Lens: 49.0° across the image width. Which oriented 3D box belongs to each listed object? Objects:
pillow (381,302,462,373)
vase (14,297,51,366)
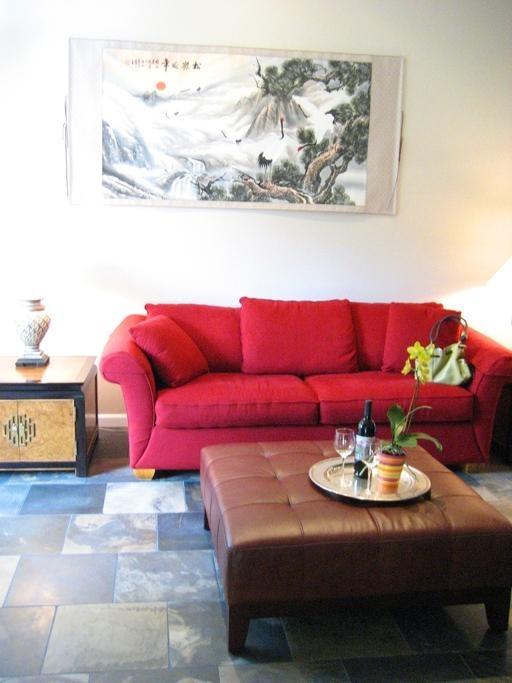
[{"bbox_3d":[0.897,-0.020,3.069,0.407,0.171,0.431,3,63,5],"label":"pillow"},{"bbox_3d":[-1.279,-0.054,3.200,0.244,0.370,0.228,2,7,22],"label":"vase"}]
